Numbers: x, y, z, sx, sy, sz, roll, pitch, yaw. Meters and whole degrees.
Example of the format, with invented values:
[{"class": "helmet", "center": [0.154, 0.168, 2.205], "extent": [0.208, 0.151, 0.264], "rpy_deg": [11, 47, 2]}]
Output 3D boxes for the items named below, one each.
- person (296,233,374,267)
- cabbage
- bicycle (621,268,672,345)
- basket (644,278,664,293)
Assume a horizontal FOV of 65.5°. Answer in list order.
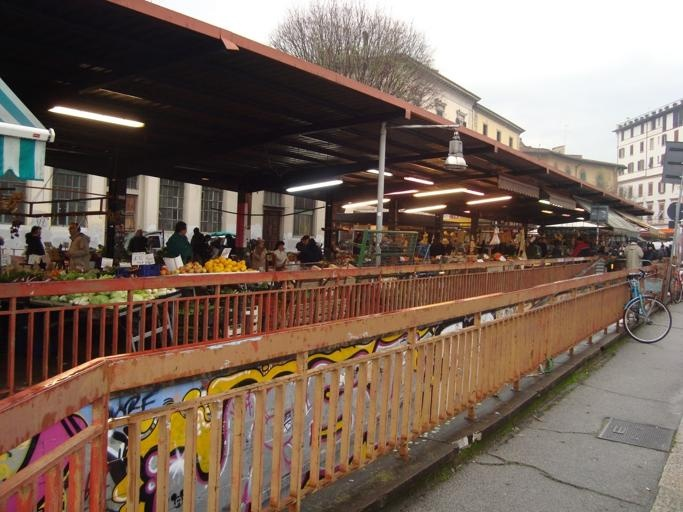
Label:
[{"class": "person", "center": [-0.480, -0.183, 14.332], "extent": [2.784, 0.997, 0.828], "rpy_deg": [3, 3, 32]}, {"class": "cabbage", "center": [-2.889, 0.435, 6.357], "extent": [1.343, 0.496, 0.699], "rpy_deg": [3, 4, -32]}, {"class": "bicycle", "center": [6.281, 0.982, 10.931], "extent": [0.847, 1.260, 2.068], "rpy_deg": [10, 10, 29]}, {"class": "basket", "center": [7.131, 0.673, 12.152], "extent": [0.376, 0.252, 0.210], "rpy_deg": [-1, 1, -20]}]
